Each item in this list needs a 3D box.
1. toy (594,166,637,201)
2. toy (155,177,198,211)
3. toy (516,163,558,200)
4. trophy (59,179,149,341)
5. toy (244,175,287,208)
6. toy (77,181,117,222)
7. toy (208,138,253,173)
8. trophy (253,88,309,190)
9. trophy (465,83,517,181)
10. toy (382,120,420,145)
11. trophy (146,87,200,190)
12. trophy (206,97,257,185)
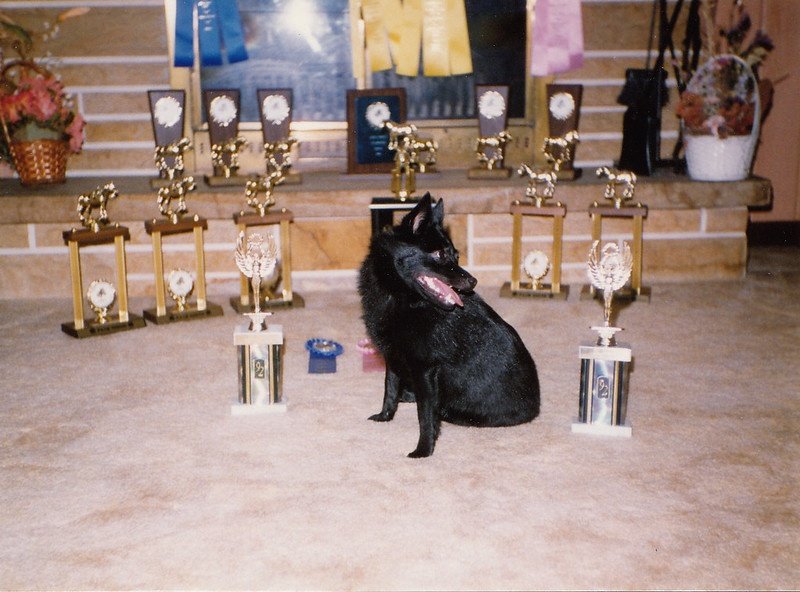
[{"bbox_3d":[1.530,-0.816,6.403,0.276,0.295,0.112,8,38,30],"label":"toy"},{"bbox_3d":[-1.503,-0.656,6.076,0.290,0.246,0.078,-10,-2,8],"label":"toy"},{"bbox_3d":[0.967,-0.803,6.355,0.293,0.219,0.090,9,34,14],"label":"toy"},{"bbox_3d":[-2.029,-0.265,6.025,0.520,0.930,0.664,-7,14,-21],"label":"trophy"},{"bbox_3d":[-0.932,-0.714,6.272,0.262,0.284,0.245,1,6,26],"label":"toy"},{"bbox_3d":[-1.959,-0.585,5.885,0.271,0.264,0.113,-6,-1,5],"label":"toy"},{"bbox_3d":[-1.260,-1.039,6.663,0.260,0.341,0.087,2,43,-6],"label":"toy"},{"bbox_3d":[-0.950,-1.184,6.931,0.332,0.788,0.249,0,23,-5],"label":"trophy"},{"bbox_3d":[0.739,-1.244,6.977,0.388,0.628,0.411,8,16,37],"label":"trophy"},{"bbox_3d":[0.007,-1.099,6.185,0.224,0.126,0.231,3,0,-2],"label":"toy"},{"bbox_3d":[-1.724,-1.109,6.689,0.351,0.694,0.383,-8,-2,24],"label":"trophy"},{"bbox_3d":[-1.304,-1.148,6.774,0.358,0.800,0.278,-4,-11,-9],"label":"trophy"}]
